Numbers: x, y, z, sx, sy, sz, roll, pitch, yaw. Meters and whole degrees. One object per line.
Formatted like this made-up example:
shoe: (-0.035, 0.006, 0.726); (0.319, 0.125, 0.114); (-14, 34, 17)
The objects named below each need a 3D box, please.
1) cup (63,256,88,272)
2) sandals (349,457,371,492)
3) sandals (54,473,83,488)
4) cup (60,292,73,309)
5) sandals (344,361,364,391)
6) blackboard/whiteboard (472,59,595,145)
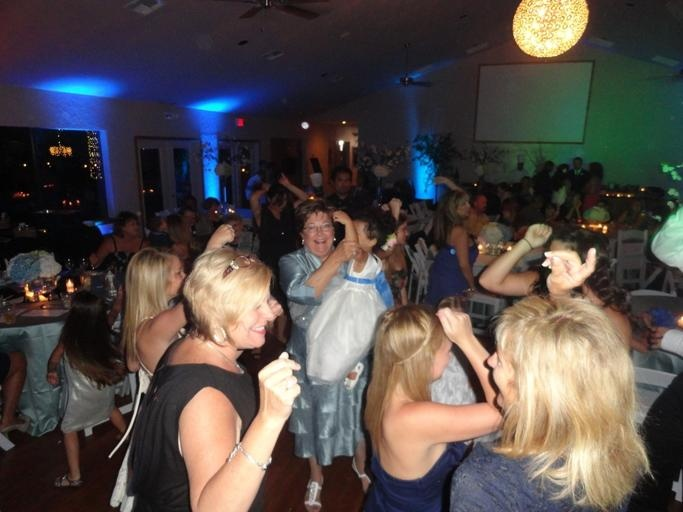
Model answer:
cup: (-3.049, 0.095, 5.411); (0.182, 0.161, 0.217); (0, -5, -5)
sandals: (0.137, 1.514, 3.289); (0.093, 0.264, 0.088); (-20, 0, 28)
sandals: (-1.908, 1.548, 3.304); (0.153, 0.057, 0.086); (12, 2, -4)
cup: (-2.326, 0.377, 3.999); (0.103, 0.164, 0.106); (2, -6, 0)
sandals: (0.082, 0.722, 2.883); (0.071, 0.166, 0.117); (38, 39, 17)
blackboard/whiteboard: (4.452, -3.518, 11.007); (2.435, 1.939, 0.106); (1, 11, 22)
